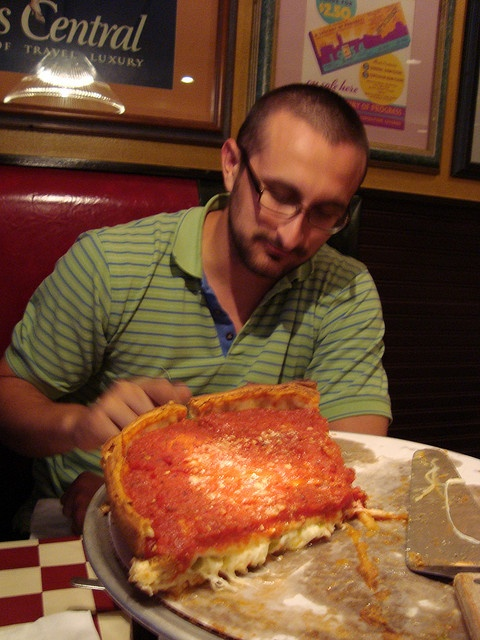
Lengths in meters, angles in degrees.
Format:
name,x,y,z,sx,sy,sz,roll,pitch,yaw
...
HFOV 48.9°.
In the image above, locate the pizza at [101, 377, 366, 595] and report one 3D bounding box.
name,x,y,z,sx,sy,sz,roll,pitch,yaw
pizza,0.001,0.236,0.745,0.309,0.087,0.221,-3,37,-38
